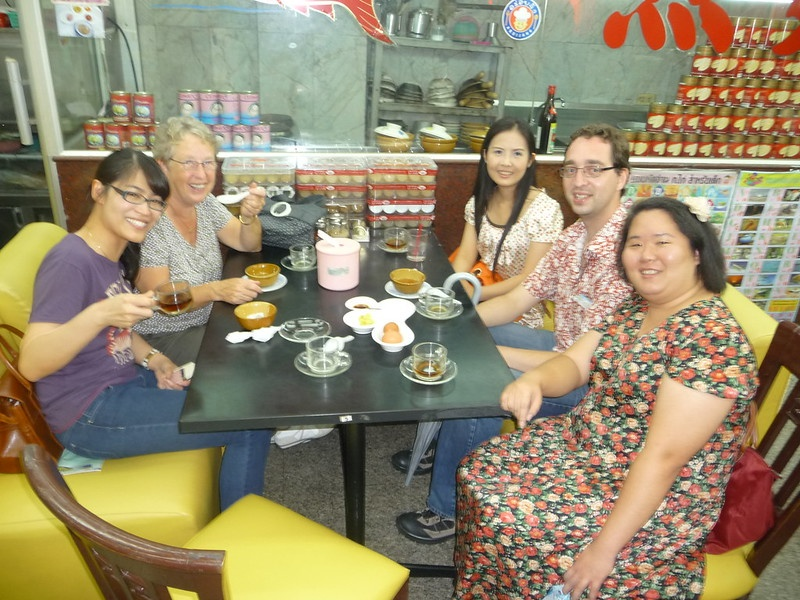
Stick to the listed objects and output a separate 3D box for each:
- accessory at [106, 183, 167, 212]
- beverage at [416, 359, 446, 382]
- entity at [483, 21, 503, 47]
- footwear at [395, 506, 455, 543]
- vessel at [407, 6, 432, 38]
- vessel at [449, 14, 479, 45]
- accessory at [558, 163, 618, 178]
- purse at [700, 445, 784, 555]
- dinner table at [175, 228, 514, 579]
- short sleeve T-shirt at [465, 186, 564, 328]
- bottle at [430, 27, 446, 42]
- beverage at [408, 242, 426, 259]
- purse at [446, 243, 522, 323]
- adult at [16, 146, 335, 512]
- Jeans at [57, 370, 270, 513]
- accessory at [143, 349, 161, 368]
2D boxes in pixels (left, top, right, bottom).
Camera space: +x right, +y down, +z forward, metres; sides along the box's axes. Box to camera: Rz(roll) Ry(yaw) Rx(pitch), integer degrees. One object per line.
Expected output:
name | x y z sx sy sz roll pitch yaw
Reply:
accessory | -0.942 -0.373 2.154 0.116 0.027 0.110 21 7 28
beverage | 0.104 0.246 2.058 0.089 0.033 0.063 4 18 6
entity | 0.629 -1.805 4.010 0.203 0.141 0.171 3 26 11
footwear | 0.110 0.991 2.604 0.309 0.101 0.110 4 31 -2
vessel | 0.125 -1.835 3.914 0.166 0.182 0.089 1 27 0
vessel | 0.440 -1.816 3.964 0.214 0.147 0.214 27 43 37
accessory | 0.800 -0.556 2.574 0.244 0.071 0.089 11 25 26
purse | 1.145 0.681 1.950 0.159 0.320 0.247 18 30 30
dinner table | -0.218 0.419 2.730 1.571 1.130 1.155 -2 48 -9
short sleeve T-shirt | 0.575 -0.206 2.937 0.397 0.632 0.553 -30 58 -16
bottle | 0.250 -1.783 3.934 0.094 0.109 0.116 3 24 3
beverage | 0.088 -0.248 2.907 0.100 0.073 0.081 3 24 1
purse | 0.410 -0.092 3.272 0.517 0.354 0.172 8 -8 9
adult | -0.954 0.191 2.481 1.293 1.534 0.982 -8 18 -29
Jeans | -0.875 0.482 2.410 0.718 0.695 0.515 -16 52 -10
accessory | -1.021 0.243 2.436 0.043 0.063 0.065 39 43 4
